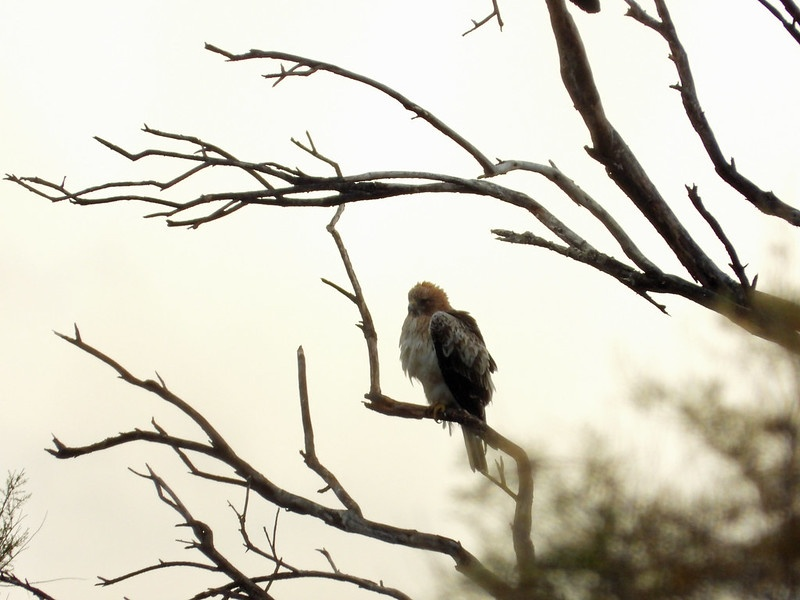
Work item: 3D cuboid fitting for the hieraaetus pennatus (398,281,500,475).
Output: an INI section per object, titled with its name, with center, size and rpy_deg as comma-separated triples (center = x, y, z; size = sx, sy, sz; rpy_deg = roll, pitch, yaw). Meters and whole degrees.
[hieraaetus pennatus]
center = 0.258, 0.387, 6.909
size = 0.580, 0.891, 0.410
rpy_deg = 18, -22, -33
